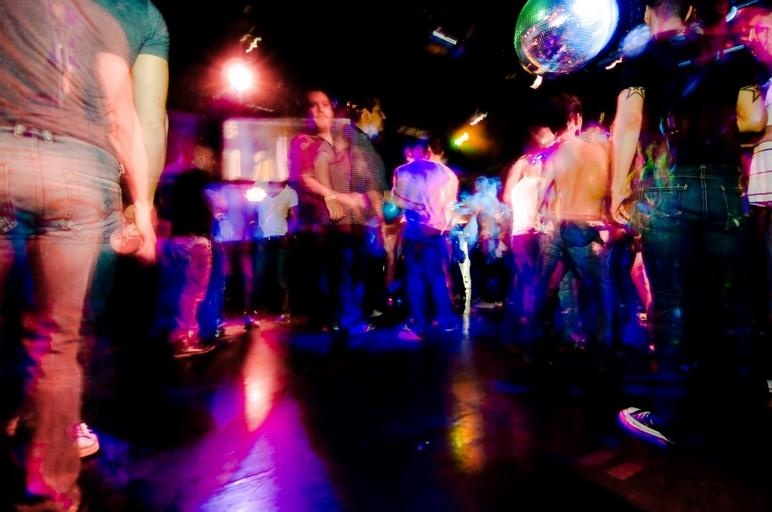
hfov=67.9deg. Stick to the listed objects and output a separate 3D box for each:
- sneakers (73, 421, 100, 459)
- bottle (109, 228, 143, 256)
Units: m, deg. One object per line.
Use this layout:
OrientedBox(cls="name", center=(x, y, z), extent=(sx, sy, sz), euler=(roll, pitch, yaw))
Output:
OrientedBox(cls="sneakers", center=(-2.028, 1.232, 3.957), extent=(0.119, 0.151, 0.359), euler=(-6, 13, -27))
OrientedBox(cls="bottle", center=(-1.647, -0.097, 3.623), extent=(0.182, 0.192, 0.153), euler=(-11, 16, -43))
